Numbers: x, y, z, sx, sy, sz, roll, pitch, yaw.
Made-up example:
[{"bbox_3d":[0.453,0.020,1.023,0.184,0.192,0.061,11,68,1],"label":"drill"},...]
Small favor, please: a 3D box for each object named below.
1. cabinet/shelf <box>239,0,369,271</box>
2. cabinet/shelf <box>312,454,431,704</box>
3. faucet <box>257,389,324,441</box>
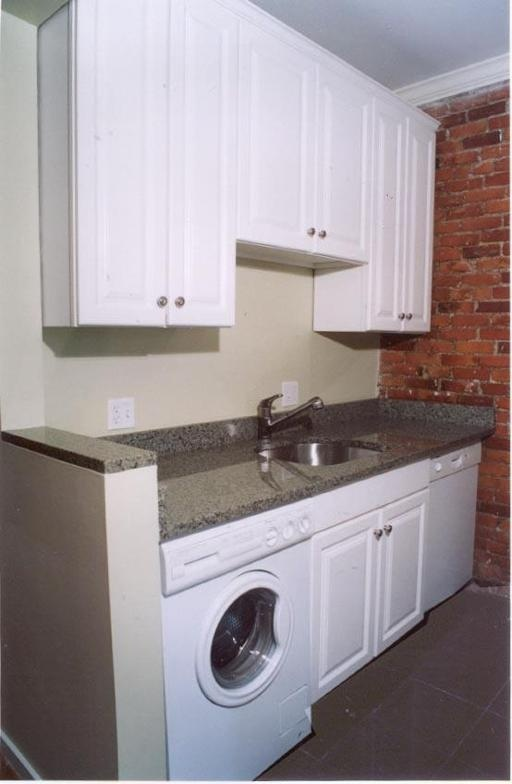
[{"bbox_3d":[0.156,-0.891,2.070,0.282,0.725,0.722,4,9,34],"label":"cabinet/shelf"},{"bbox_3d":[0.371,0.623,1.992,0.333,0.680,0.604,1,7,40],"label":"cabinet/shelf"},{"bbox_3d":[0.127,0.079,2.484,0.242,0.182,0.398,1,6,0],"label":"faucet"}]
